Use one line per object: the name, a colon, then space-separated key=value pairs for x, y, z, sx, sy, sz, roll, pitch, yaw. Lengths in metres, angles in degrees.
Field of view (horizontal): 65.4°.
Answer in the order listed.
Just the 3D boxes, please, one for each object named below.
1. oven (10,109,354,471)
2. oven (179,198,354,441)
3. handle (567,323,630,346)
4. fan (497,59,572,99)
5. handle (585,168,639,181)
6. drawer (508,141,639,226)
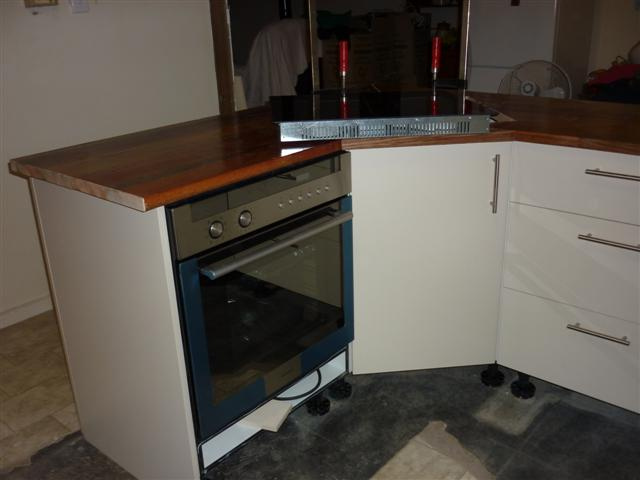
oven: x=-0.410 y=0.250 z=1.839 sx=1.152 sy=1.152 sz=0.669 roll=-10 pitch=22 yaw=-18
oven: x=-0.269 y=0.187 z=1.892 sx=0.754 sy=0.709 sz=0.527 roll=-22 pitch=33 yaw=-36
handle: x=1.063 y=0.363 z=1.902 sx=0.155 sy=0.039 sz=0.067 roll=12 pitch=35 yaw=38
fan: x=1.559 y=-1.161 z=3.621 sx=0.478 sy=0.259 sz=0.242 roll=7 pitch=23 yaw=22
handle: x=1.018 y=-0.228 z=1.744 sx=0.168 sy=0.029 sz=0.014 roll=12 pitch=26 yaw=33
drawer: x=0.926 y=-0.211 z=1.825 sx=0.446 sy=0.213 sz=0.295 roll=19 pitch=38 yaw=30
